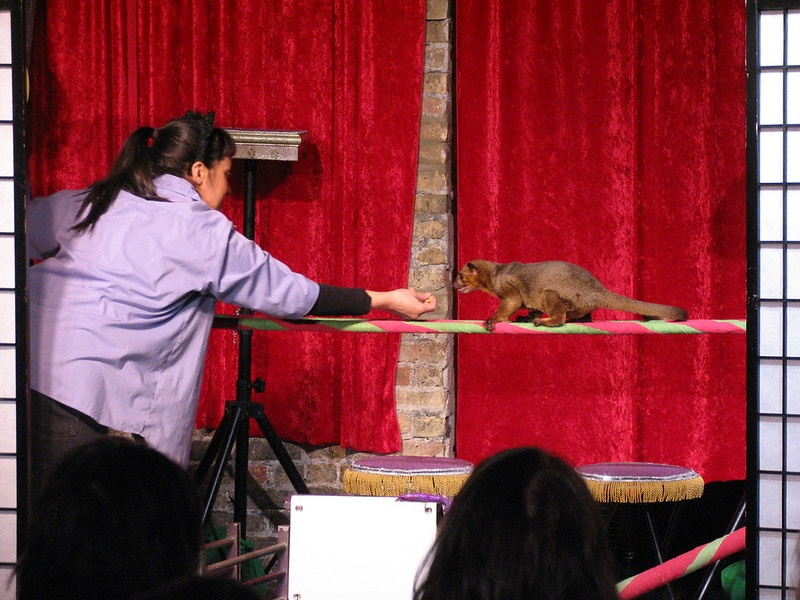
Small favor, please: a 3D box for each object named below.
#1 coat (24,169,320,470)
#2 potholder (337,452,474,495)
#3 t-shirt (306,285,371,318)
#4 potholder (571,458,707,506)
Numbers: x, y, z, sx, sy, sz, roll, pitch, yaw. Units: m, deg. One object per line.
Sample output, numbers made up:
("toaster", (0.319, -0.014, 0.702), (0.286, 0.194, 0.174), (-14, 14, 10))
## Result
("coat", (-0.752, 0.018, 4.404), (1.129, 0.705, 0.811), (28, 11, 27))
("potholder", (0.016, 0.571, 4.674), (0.472, 0.182, 0.380), (-4, 4, 1))
("t-shirt", (-0.195, 0.004, 4.377), (0.148, 0.119, 0.057), (6, -23, -20))
("potholder", (0.848, 0.640, 4.631), (0.371, 0.094, 0.383), (-1, -2, 4))
